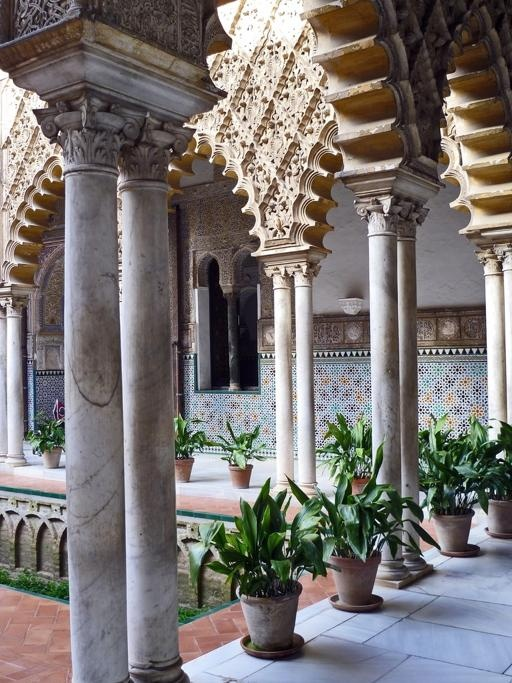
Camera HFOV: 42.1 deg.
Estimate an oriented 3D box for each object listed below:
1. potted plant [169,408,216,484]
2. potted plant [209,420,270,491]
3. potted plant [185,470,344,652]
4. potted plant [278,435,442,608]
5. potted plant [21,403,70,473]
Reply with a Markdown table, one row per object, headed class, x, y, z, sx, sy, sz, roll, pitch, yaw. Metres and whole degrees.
| class | x | y | z | sx | sy | sz | roll | pitch | yaw |
| --- | --- | --- | --- | --- | --- | --- | --- | --- | --- |
| potted plant | -0.875 | 1.251 | 7.611 | 0.654 | 0.671 | 0.514 | 2 | -7 | -36 |
| potted plant | -0.192 | 1.245 | 7.138 | 0.768 | 0.695 | 0.691 | -3 | -12 | 22 |
| potted plant | 0.083 | 1.013 | 2.938 | 0.755 | 0.675 | 0.537 | 5 | -8 | -35 |
| potted plant | 0.503 | 1.032 | 3.395 | 0.721 | 0.661 | 0.589 | -1 | -19 | 9 |
| potted plant | -2.736 | 1.318 | 8.774 | 0.435 | 0.587 | 0.396 | 0 | 4 | -26 |
